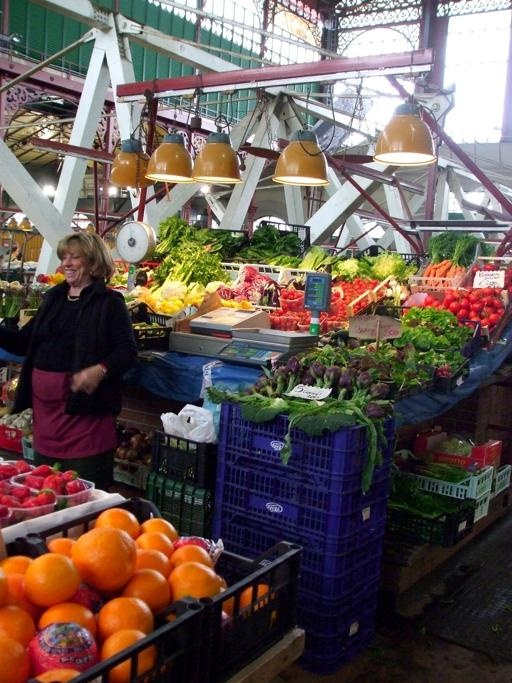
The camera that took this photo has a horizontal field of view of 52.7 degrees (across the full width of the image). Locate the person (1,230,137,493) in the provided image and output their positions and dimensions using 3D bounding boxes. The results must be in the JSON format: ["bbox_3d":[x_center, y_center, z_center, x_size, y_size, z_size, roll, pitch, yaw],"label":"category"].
[{"bbox_3d":[-0.857,0.033,2.681,0.716,1.217,0.653,7,16,19],"label":"person"}]

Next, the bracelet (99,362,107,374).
[{"bbox_3d":[-0.693,0.123,2.341,0.029,0.034,0.036,-9,22,-23],"label":"bracelet"}]

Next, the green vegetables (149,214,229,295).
[{"bbox_3d":[-0.687,-0.824,4.909,0.624,0.876,0.695,12,18,40],"label":"green vegetables"}]
